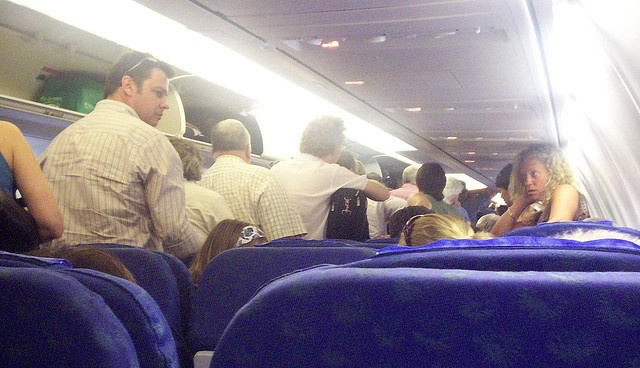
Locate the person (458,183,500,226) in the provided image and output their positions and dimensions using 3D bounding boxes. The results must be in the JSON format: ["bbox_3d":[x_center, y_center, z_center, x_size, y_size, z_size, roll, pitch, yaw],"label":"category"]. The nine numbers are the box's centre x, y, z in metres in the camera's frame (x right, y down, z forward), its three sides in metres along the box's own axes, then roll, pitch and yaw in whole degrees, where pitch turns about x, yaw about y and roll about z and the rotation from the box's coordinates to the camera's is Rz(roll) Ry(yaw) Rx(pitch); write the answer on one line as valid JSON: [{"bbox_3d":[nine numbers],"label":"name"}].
[{"bbox_3d":[3.244,0.427,9.247,0.474,0.671,1.751,6,8,30],"label":"person"}]

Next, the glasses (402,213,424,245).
[{"bbox_3d":[0.515,0.264,2.561,0.148,0.163,0.074,0,12,-28],"label":"glasses"}]

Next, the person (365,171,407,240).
[{"bbox_3d":[0.773,0.253,5.686,0.914,0.761,0.488,2,5,22],"label":"person"}]

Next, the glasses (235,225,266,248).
[{"bbox_3d":[-0.490,0.378,3.137,0.137,0.172,0.134,53,23,19],"label":"glasses"}]

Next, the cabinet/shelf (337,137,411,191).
[{"bbox_3d":[1.502,-0.527,11.848,1.746,1.396,1.206,-4,10,-5],"label":"cabinet/shelf"}]
